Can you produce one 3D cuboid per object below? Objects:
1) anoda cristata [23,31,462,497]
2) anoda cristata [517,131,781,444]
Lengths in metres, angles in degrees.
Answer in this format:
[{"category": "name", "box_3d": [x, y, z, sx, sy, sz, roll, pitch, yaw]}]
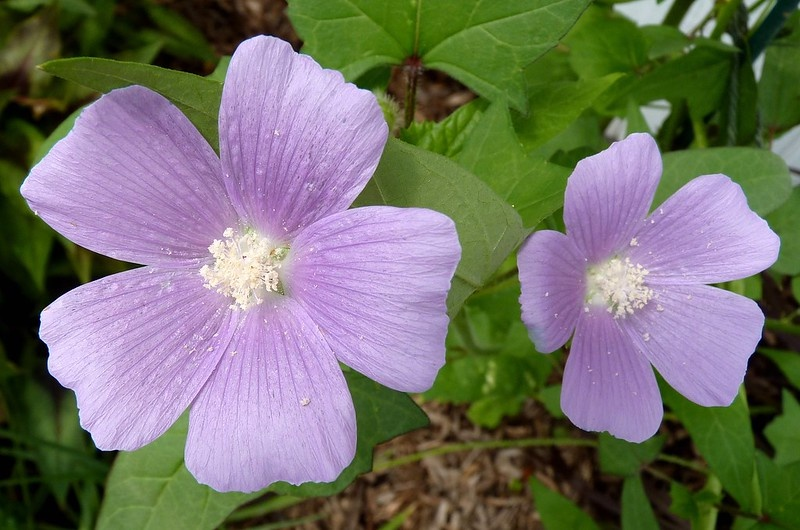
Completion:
[{"category": "anoda cristata", "box_3d": [-0.330, 0.009, 1.620, 1.007, 0.314, 1.049, 5, 98, 17]}, {"category": "anoda cristata", "box_3d": [0.591, 0.089, 1.753, 0.585, 0.269, 0.643, -40, 41, 7]}]
